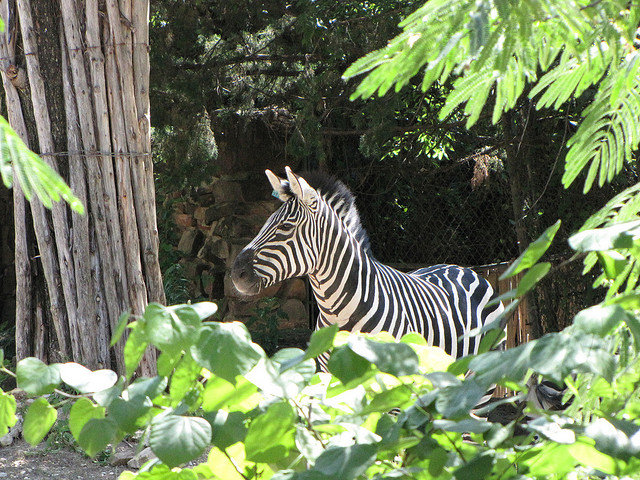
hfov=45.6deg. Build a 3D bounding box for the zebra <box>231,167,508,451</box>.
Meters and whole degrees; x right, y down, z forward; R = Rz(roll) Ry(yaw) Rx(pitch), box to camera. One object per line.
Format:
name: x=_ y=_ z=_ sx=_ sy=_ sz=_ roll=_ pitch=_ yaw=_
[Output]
zebra: x=0.358 y=0.417 z=4.081 sx=1.733 sy=1.445 sz=0.570 roll=6 pitch=-5 yaw=-34
